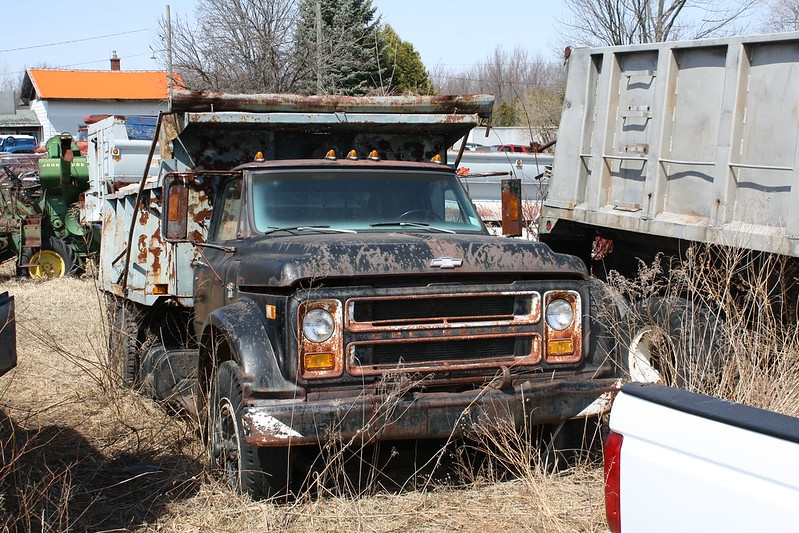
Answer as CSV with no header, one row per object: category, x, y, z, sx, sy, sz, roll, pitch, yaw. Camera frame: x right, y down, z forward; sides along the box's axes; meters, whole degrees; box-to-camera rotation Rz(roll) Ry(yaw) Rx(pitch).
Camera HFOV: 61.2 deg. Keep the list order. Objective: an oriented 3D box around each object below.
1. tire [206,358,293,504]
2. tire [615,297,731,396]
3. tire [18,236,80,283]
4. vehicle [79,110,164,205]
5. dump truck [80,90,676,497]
tire,-1.038,1.189,4.786,0.293,1.037,0.925,3,3,-28
tire,2.400,0.690,5.854,0.258,0.840,0.747,2,2,-28
tire,-7.801,-0.310,15.100,1.114,1.279,1.156,8,7,-24
vehicle,-5.777,-2.279,14.705,1.413,1.686,2.124,-4,5,-33
dump truck,-1.062,-0.031,7.260,2.718,2.754,6.245,-1,4,-21
